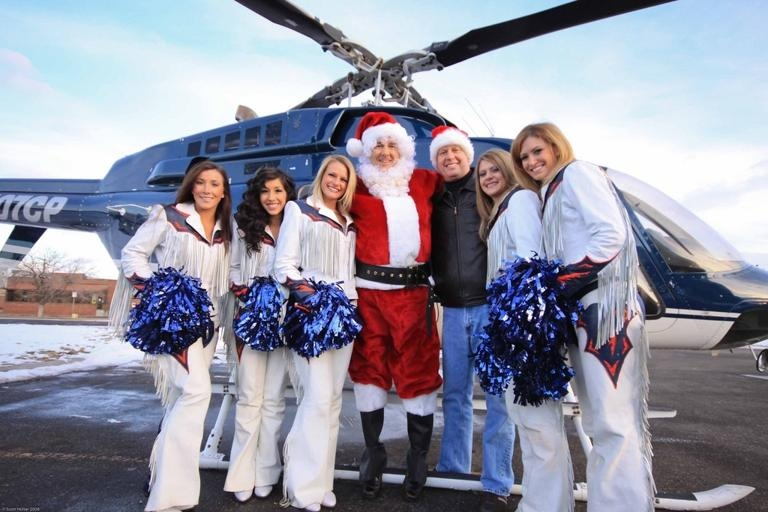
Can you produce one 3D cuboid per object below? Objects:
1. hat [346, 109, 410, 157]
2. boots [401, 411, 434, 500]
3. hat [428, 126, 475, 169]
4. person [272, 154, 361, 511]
[{"bbox_3d":[-0.072,-1.134,4.463,0.582,0.322,0.413,-1,5,30],"label":"hat"},{"bbox_3d":[0.287,1.669,4.038,0.214,0.685,0.202,2,-10,1],"label":"boots"},{"bbox_3d":[0.592,-1.016,4.495,0.391,0.308,0.441,-2,19,-12],"label":"hat"},{"bbox_3d":[-0.568,0.572,4.024,0.750,2.904,0.329,3,-10,-4],"label":"person"}]
